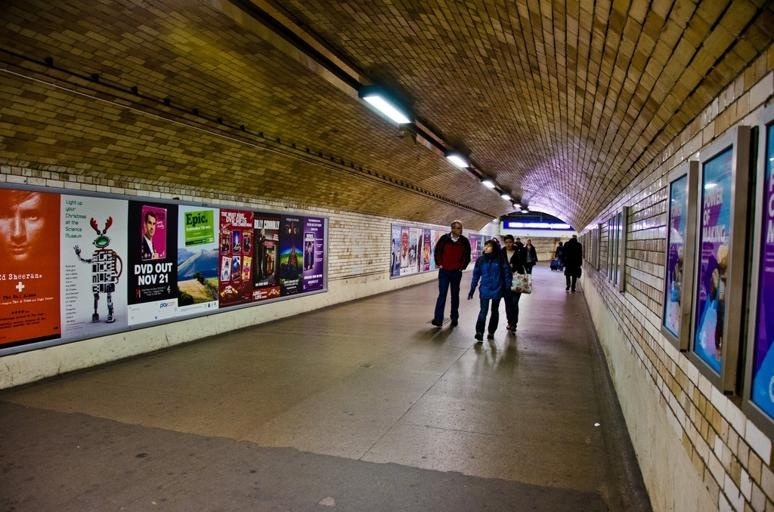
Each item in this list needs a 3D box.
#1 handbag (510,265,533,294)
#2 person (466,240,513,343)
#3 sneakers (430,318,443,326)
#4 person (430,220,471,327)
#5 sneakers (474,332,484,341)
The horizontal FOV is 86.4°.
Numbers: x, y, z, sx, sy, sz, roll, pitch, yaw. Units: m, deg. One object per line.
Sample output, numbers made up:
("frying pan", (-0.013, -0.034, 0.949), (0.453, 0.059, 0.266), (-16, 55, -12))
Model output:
("handbag", (2.879, 0.561, 8.841), (0.379, 0.454, 0.509), (2, 3, 15))
("person", (2.063, 0.677, 8.434), (0.644, 2.017, 0.883), (4, 4, 44))
("sneakers", (1.175, 1.517, 9.430), (0.252, 0.207, 0.316), (1, 3, 2))
("person", (1.470, 0.416, 9.456), (0.808, 2.424, 0.932), (1, 3, -3))
("sneakers", (1.843, 1.600, 8.179), (0.148, 0.124, 0.149), (-3, 7, 6))
